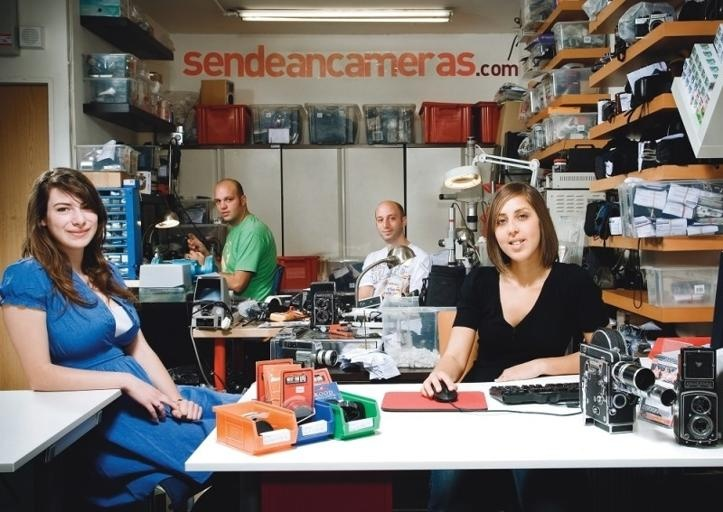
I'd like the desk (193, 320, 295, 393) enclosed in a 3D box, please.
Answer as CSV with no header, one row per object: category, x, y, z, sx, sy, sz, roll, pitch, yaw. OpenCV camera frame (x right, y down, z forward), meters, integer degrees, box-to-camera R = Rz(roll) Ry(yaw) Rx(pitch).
desk,-0.812,0.586,4.411,0.535,0.525,0.543,1,2,0

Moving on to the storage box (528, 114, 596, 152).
storage box,1.646,-0.999,5.291,0.371,0.154,0.445,-1,6,-1

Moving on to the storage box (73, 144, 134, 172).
storage box,-2.035,-0.776,5.145,0.277,0.130,0.289,2,6,20

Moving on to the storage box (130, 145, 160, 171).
storage box,-1.954,-0.892,5.908,0.204,0.220,0.226,0,3,5

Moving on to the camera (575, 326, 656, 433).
camera,0.991,0.493,2.593,0.186,0.384,0.443,1,-1,-7

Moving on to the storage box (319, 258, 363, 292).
storage box,-0.144,0.167,5.650,0.228,0.315,0.335,-2,6,-22

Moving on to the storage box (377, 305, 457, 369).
storage box,0.305,0.435,3.592,0.342,0.223,0.346,1,-1,-2

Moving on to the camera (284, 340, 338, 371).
camera,-0.271,0.527,3.544,0.368,0.194,0.113,-2,-3,18

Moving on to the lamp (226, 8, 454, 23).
lamp,-0.166,-2.488,6.763,2.212,0.115,0.469,1,4,1

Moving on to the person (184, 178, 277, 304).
person,-1.047,0.075,5.255,0.708,1.287,0.671,-6,12,-28

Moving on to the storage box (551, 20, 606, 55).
storage box,1.757,-1.772,5.338,0.411,0.201,0.284,-2,4,-10

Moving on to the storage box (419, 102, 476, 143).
storage box,0.877,-1.379,6.734,0.425,0.339,0.551,1,7,2

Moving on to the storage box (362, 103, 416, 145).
storage box,0.291,-1.369,6.799,0.442,0.339,0.441,0,8,6

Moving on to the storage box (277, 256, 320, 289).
storage box,-0.633,0.163,6.644,0.386,0.386,0.394,-1,4,2

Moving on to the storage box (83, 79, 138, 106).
storage box,-2.110,-1.374,5.483,0.251,0.158,0.257,0,7,-4

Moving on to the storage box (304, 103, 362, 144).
storage box,-0.289,-1.361,6.746,0.670,0.467,0.375,-1,4,-6

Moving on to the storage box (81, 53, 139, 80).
storage box,-2.078,-1.582,5.486,0.329,0.153,0.245,0,5,-3

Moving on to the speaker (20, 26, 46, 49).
speaker,-2.539,-1.685,5.015,0.179,0.182,0.099,0,-1,-13

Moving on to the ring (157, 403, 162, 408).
ring,-0.919,0.675,2.965,0.014,0.004,0.012,10,35,4

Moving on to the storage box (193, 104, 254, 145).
storage box,-1.425,-1.334,6.716,0.438,0.332,0.448,0,10,1
